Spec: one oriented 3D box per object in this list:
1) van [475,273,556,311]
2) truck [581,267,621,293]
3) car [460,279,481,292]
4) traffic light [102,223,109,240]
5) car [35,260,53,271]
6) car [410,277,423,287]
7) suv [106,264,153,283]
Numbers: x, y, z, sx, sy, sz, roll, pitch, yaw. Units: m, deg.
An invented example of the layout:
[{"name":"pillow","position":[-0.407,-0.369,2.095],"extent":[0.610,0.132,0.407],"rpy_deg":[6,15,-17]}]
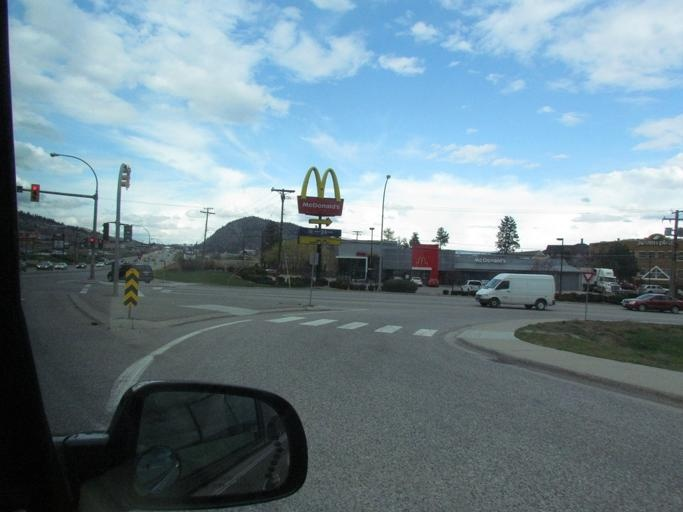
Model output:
[{"name":"van","position":[10.548,2.374,33.093],"extent":[3.946,1.991,2.129],"rpy_deg":[3,-5,-1]},{"name":"truck","position":[29.705,3.466,62.610],"extent":[2.564,2.932,5.494],"rpy_deg":[1,-7,1]},{"name":"car","position":[13.407,3.644,55.758],"extent":[1.950,1.135,1.241],"rpy_deg":[-3,3,-9]},{"name":"traffic light","position":[-13.456,-0.950,31.111],"extent":[0.259,0.855,0.451],"rpy_deg":[2,0,-21]},{"name":"car","position":[-39.010,2.104,71.120],"extent":[2.052,1.064,1.328],"rpy_deg":[3,-2,28]},{"name":"car","position":[10.110,4.335,73.108],"extent":[1.477,1.148,3.313],"rpy_deg":[1,-9,2]},{"name":"suv","position":[-13.964,1.560,36.220],"extent":[2.224,1.149,1.359],"rpy_deg":[6,0,12]}]
